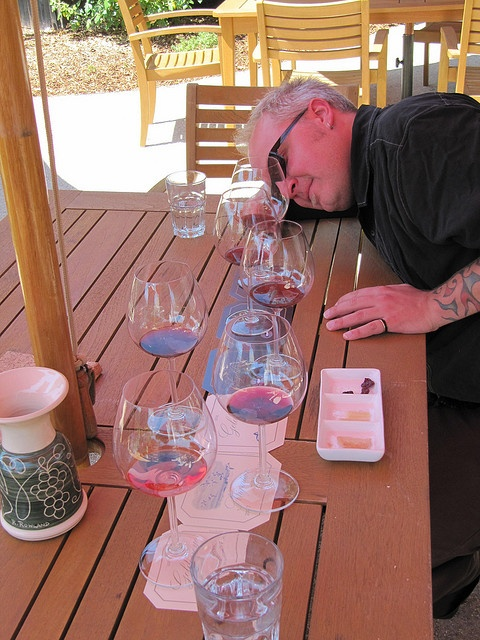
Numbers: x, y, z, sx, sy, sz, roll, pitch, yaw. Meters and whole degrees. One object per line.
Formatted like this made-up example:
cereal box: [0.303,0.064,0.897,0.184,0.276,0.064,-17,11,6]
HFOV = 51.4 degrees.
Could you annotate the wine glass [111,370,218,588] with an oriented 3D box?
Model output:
wine glass: [-0.077,0.173,0.571,0.108,0.224,0.178,-6,30,-2]
